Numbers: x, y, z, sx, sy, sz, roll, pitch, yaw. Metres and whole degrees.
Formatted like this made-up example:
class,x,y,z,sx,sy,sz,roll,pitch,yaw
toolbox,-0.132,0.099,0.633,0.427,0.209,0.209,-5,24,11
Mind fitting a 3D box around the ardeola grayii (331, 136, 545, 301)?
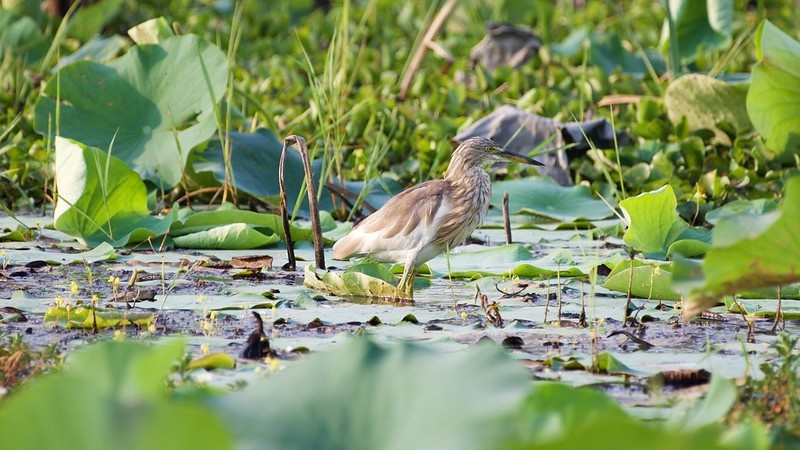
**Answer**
class,x,y,z,sx,sy,sz,roll,pitch,yaw
ardeola grayii,0.209,-0.052,5.548,1.289,1.017,0.492,4,13,19
